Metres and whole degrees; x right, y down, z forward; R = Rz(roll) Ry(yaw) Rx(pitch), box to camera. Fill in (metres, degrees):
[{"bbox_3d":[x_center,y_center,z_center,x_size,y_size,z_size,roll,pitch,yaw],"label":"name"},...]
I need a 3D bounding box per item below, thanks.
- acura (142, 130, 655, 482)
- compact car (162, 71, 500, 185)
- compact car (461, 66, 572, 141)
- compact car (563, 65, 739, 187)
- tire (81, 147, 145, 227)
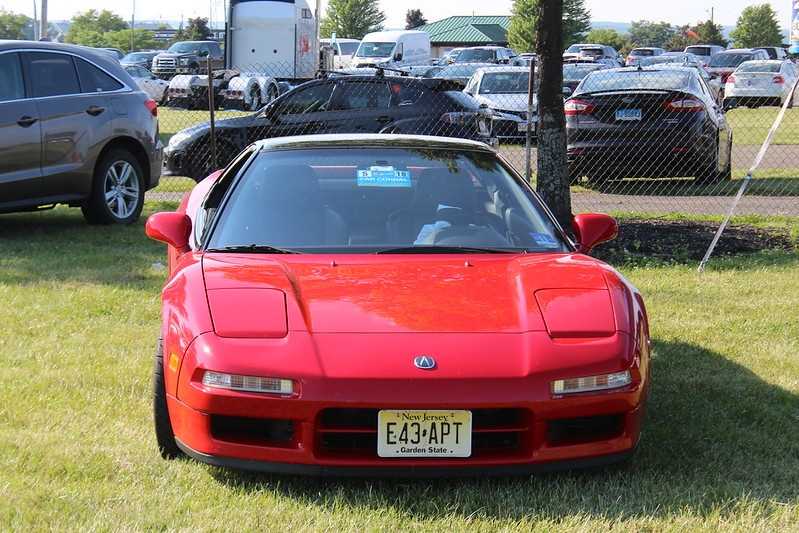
[{"bbox_3d":[-0.033,0.196,4.797,2.759,1.599,1.601,-3,13,3],"label":"acura"},{"bbox_3d":[-1.142,-2.316,12.710,4.544,1.503,2.012,2,5,1],"label":"compact car"},{"bbox_3d":[2.424,-3.768,18.384,1.686,1.234,3.394,0,9,1],"label":"compact car"},{"bbox_3d":[3.603,-2.137,12.293,1.643,1.121,2.830,0,13,10],"label":"compact car"},{"bbox_3d":[-3.682,-1.037,10.230,0.370,1.035,1.046,1,1,27],"label":"tire"}]
